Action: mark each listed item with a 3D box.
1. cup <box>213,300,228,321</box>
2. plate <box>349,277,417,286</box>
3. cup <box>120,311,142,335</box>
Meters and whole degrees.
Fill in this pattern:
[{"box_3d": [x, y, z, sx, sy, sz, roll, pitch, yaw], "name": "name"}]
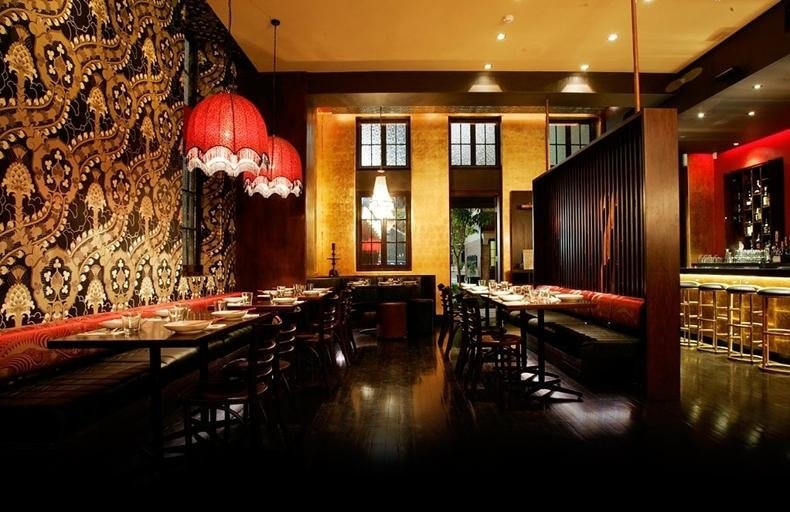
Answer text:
[{"box_3d": [-2.035, 0.634, 6.847, 0.182, 0.277, 0.172, 1, -10, 0], "name": "cup"}, {"box_3d": [-0.221, 0.526, 11.754, 0.850, 0.157, 0.175, -1, -1, 21], "name": "plate"}, {"box_3d": [-2.791, 0.713, 6.270, 0.182, 0.215, 0.228, -2, 3, -29], "name": "cup"}]
